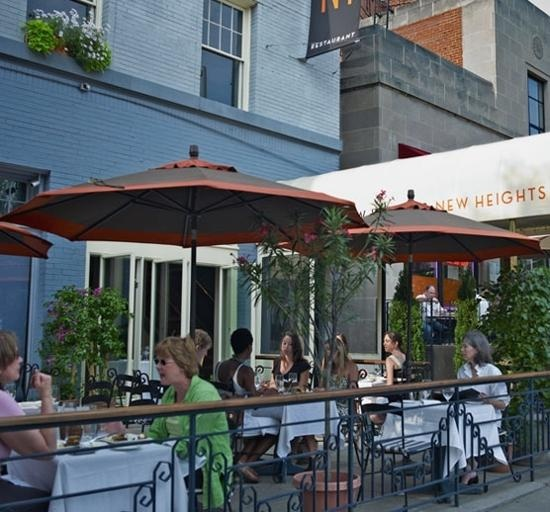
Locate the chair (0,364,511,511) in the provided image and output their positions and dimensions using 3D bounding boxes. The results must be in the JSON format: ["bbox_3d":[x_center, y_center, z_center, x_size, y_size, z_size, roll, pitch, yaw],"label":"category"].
[{"bbox_3d":[-0.205,1.405,6.082,3.730,0.839,0.686,4,-9,-38],"label":"chair"}]

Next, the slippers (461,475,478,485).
[{"bbox_3d":[1.867,2.163,7.921,0.085,0.088,0.236,-1,5,28],"label":"slippers"}]

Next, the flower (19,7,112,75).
[{"bbox_3d":[-2.912,-3.093,11.634,1.029,0.637,0.919,15,5,-13],"label":"flower"}]

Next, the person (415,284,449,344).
[{"bbox_3d":[2.813,1.114,14.868,0.606,1.177,0.614,-8,-14,32],"label":"person"}]

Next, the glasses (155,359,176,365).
[{"bbox_3d":[-0.828,0.827,6.473,0.121,0.040,0.128,-6,-19,35],"label":"glasses"}]
